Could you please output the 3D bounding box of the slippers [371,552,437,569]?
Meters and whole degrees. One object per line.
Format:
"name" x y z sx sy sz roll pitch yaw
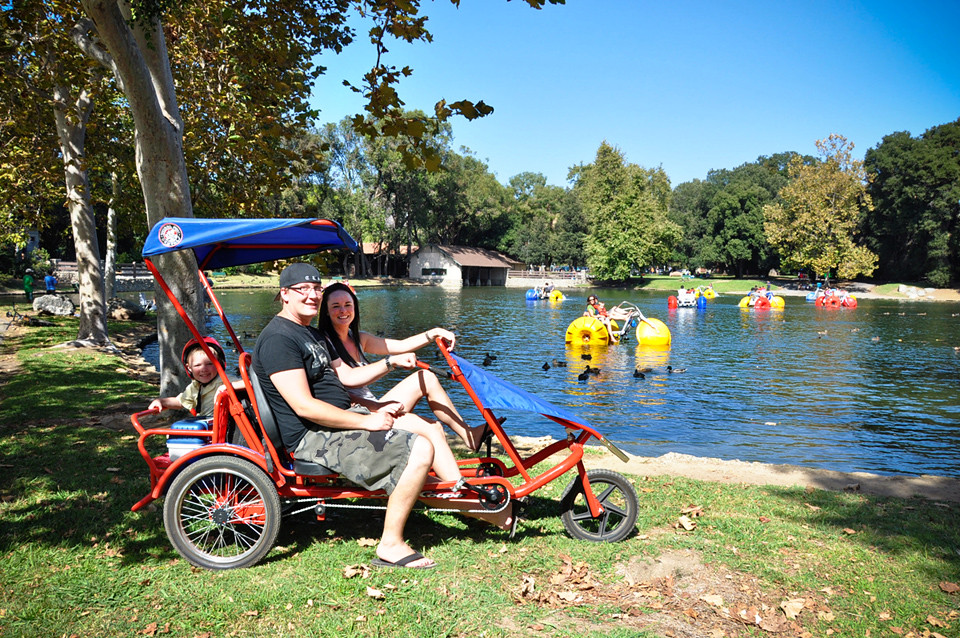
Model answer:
"slippers" -0.925 2.940 8.582 0.535 0.128 0.264 -1 -6 9

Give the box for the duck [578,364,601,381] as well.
"duck" 3.676 1.804 23.583 0.564 0.294 0.564 2 -1 -8

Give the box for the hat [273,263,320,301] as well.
"hat" -2.331 -0.545 8.957 0.520 0.253 0.318 -23 -7 10

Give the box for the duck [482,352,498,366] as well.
"duck" 0.346 1.510 26.053 0.259 0.548 0.769 10 22 34

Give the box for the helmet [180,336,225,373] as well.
"helmet" -3.766 0.410 9.674 0.423 0.584 0.304 -8 4 -3

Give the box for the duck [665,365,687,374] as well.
"duck" 6.771 1.746 24.367 0.703 0.177 0.657 1 5 3
